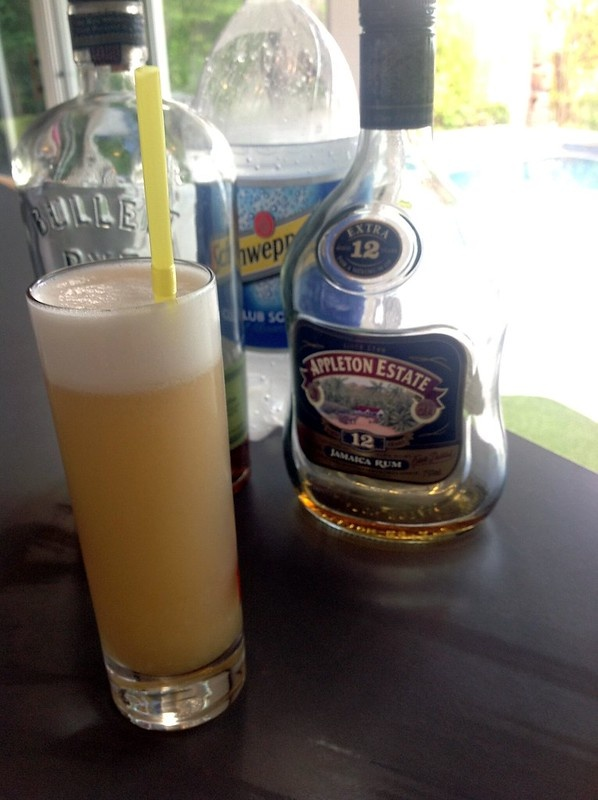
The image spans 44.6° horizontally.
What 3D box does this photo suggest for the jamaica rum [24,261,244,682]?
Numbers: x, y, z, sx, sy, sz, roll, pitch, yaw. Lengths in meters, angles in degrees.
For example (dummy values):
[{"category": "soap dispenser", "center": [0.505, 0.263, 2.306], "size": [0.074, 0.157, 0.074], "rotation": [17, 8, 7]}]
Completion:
[{"category": "jamaica rum", "center": [-0.082, 0.033, 0.387], "size": [0.088, 0.200, 0.123], "rotation": [-9, 31, -19]}]
